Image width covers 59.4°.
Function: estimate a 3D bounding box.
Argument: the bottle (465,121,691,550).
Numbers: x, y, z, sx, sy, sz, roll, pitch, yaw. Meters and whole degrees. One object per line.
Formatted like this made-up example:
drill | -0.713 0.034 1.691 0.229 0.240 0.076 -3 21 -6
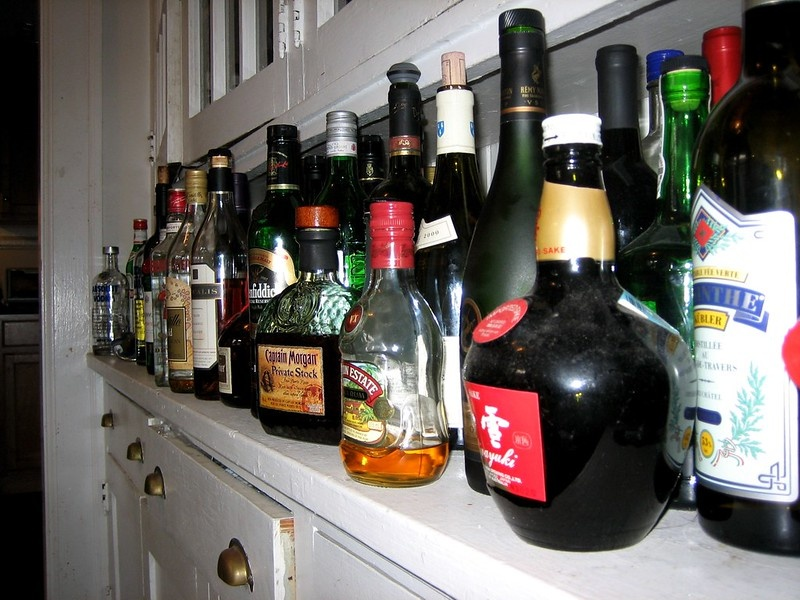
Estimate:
bottle | 0.146 0.024 0.581 0.181 0.324 0.177 -2 2 0
